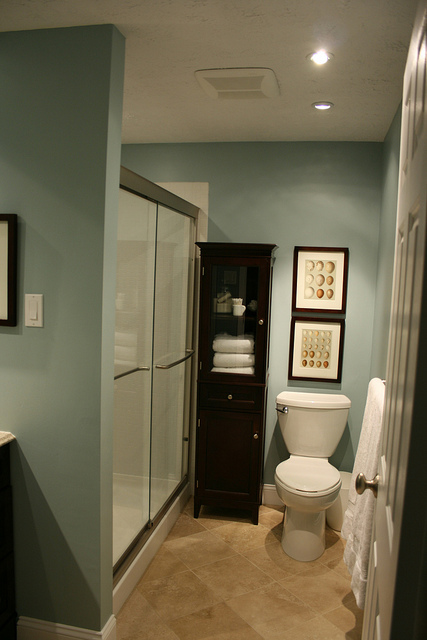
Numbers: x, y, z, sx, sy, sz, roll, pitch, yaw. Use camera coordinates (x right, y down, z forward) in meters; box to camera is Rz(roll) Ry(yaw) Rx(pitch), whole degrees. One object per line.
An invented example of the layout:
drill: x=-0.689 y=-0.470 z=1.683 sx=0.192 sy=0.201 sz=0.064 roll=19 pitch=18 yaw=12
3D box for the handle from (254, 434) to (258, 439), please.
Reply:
handle: x=0.249 y=0.684 z=2.829 sx=0.019 sy=0.024 sz=0.005 roll=3 pitch=3 yaw=9

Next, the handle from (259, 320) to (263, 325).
handle: x=0.277 y=0.019 z=2.807 sx=0.020 sy=0.019 sz=0.029 roll=-3 pitch=-11 yaw=13

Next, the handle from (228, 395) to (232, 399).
handle: x=0.097 y=0.461 z=2.850 sx=0.014 sy=0.018 sz=0.029 roll=6 pitch=-4 yaw=-2

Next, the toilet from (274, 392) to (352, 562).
toilet: x=0.530 y=0.823 z=2.672 sx=0.428 sy=0.829 sz=0.503 roll=2 pitch=6 yaw=4

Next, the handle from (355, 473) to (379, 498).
handle: x=0.340 y=0.362 z=1.078 sx=0.073 sy=0.053 sz=0.047 roll=6 pitch=-3 yaw=-14

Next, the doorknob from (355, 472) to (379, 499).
doorknob: x=0.334 y=0.361 z=1.072 sx=0.069 sy=0.052 sz=0.047 roll=6 pitch=1 yaw=-8

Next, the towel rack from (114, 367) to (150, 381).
towel rack: x=-0.366 y=0.242 z=2.187 sx=0.015 sy=0.032 sz=0.162 roll=16 pitch=16 yaw=23
